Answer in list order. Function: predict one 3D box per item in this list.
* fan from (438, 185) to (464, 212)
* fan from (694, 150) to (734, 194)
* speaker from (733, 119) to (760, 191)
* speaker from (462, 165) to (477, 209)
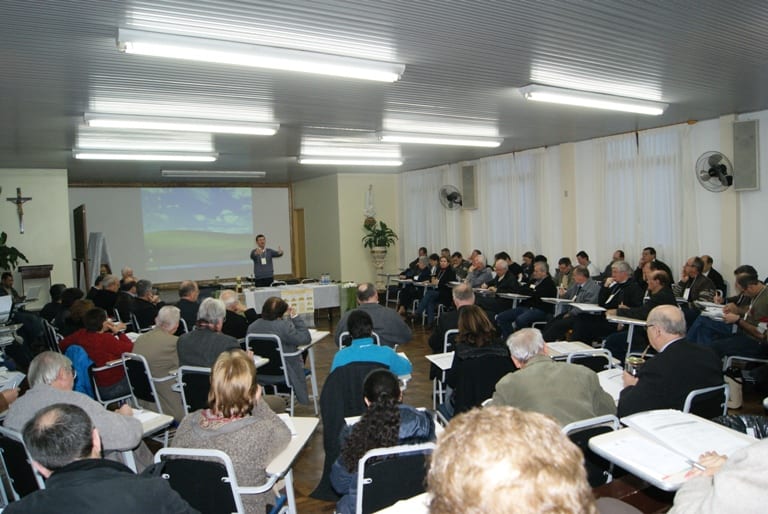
[{"bbox_3d":[1.535,-1.399,12.511,0.483,0.563,0.385,-2,1,-2],"label":"fan"},{"bbox_3d":[4.780,-1.244,7.937,0.607,0.546,0.350,-2,1,-22],"label":"fan"},{"bbox_3d":[5.131,-1.461,7.788,0.322,0.951,0.197,-1,1,32],"label":"speaker"},{"bbox_3d":[1.892,-1.592,12.261,0.353,0.956,0.155,-1,1,21],"label":"speaker"}]
